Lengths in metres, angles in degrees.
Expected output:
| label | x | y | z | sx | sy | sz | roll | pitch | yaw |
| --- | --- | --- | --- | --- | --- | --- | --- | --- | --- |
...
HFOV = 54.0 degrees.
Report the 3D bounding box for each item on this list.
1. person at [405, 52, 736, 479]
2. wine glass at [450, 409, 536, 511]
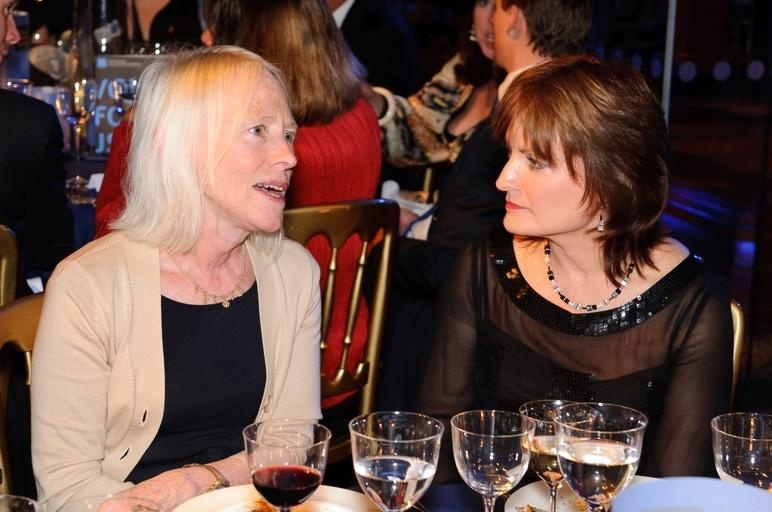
| label | x | y | z | sx | sy | sz | roll | pitch | yaw |
| --- | --- | --- | --- | --- | --- | --- | --- | --- | --- |
| person | 0.588 | 0.180 | 2.395 | 0.905 | 1.574 | 0.855 | 7 | 29 | 25 |
| wine glass | 0.233 | 0.470 | 1.740 | 0.178 | 0.229 | 0.203 | 2 | 5 | -2 |
